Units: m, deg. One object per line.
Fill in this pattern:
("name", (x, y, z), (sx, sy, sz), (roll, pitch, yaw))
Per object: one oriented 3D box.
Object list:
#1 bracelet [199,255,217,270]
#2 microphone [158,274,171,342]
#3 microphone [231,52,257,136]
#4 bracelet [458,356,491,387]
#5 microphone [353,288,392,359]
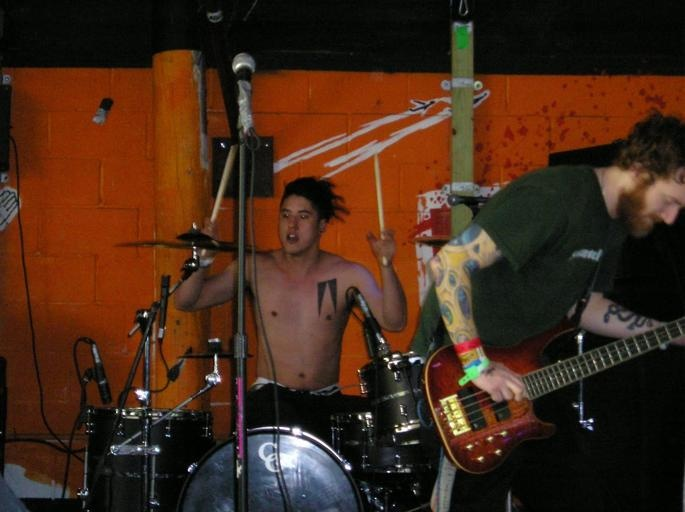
("bracelet", (-0.735, 0.032, 6.420), (0.069, 0.068, 0.062), (-8, -1, -26))
("microphone", (-0.974, 0.283, 6.446), (0.074, 0.370, 0.296), (-1, -5, -9))
("microphone", (-0.483, -0.816, 5.861), (0.099, 0.478, 0.305), (-2, -5, -4))
("bracelet", (0.652, 0.571, 5.795), (0.141, 0.042, 0.107), (-33, 12, 4))
("microphone", (0.181, 0.425, 6.587), (0.120, 0.480, 0.130), (-21, -1, 4))
